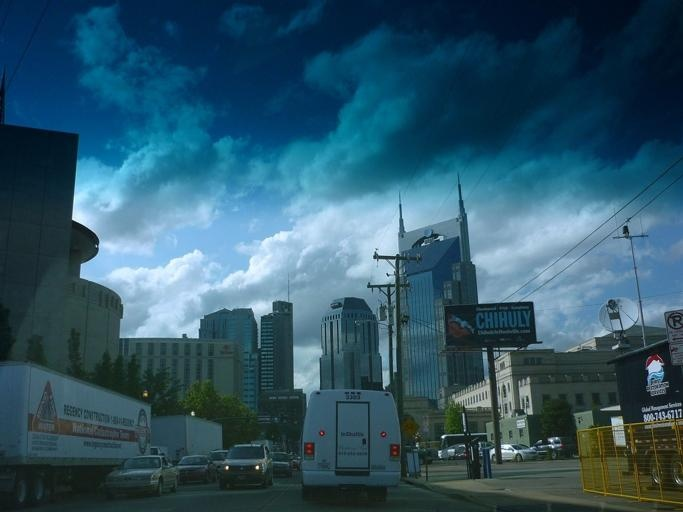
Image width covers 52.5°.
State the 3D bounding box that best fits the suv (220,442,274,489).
[{"bbox_3d":[-4.575,10.144,33.544,2.120,2.153,2.810,-3,-22,0],"label":"suv"}]

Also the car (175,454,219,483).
[{"bbox_3d":[-8.546,12.489,40.683,1.682,1.624,2.548,-3,-22,-1],"label":"car"}]

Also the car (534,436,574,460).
[{"bbox_3d":[19.819,17.691,64.051,3.287,1.940,2.388,-8,-22,12],"label":"car"}]

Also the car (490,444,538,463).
[{"bbox_3d":[15.157,17.171,60.625,2.013,1.833,4.807,7,-24,-25],"label":"car"}]

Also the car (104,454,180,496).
[{"bbox_3d":[-9.142,10.101,31.917,2.010,1.954,3.383,-7,-22,8],"label":"car"}]

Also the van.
[{"bbox_3d":[0.345,7.881,28.490,3.804,3.966,7.512,0,-21,0],"label":"van"}]
